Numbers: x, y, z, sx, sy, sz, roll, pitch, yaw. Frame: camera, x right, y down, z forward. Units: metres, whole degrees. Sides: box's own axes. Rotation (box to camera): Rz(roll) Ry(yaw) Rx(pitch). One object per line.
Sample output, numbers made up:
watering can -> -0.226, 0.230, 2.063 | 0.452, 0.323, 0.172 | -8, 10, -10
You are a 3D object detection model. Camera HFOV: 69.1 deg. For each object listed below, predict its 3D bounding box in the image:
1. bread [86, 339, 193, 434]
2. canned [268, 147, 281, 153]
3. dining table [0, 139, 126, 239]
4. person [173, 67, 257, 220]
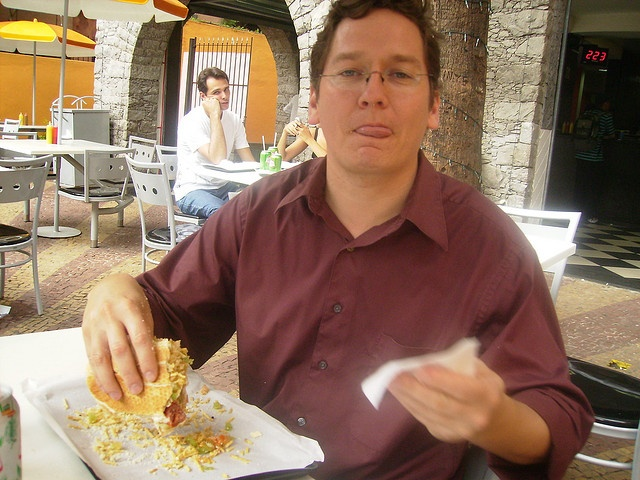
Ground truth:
bread -> -0.407, 0.355, 1.162 | 0.240, 0.198, 0.103 | 16, -5, 8
canned -> -0.483, -0.945, 4.914 | 0.075, 0.068, 0.073 | -1, 7, -7
dining table -> -3.635, -0.796, 6.582 | 1.694, 1.427, 1.977 | -2, 9, -33
person -> -1.156, -1.197, 5.880 | 1.242, 1.796, 1.124 | 21, 27, 36
